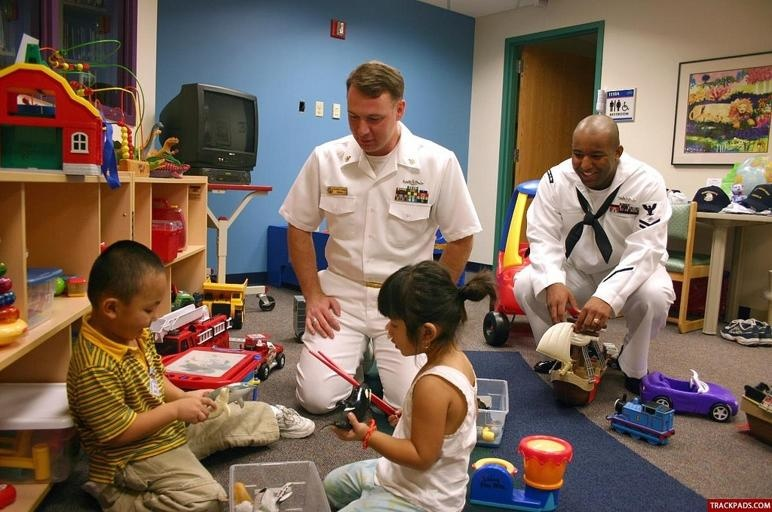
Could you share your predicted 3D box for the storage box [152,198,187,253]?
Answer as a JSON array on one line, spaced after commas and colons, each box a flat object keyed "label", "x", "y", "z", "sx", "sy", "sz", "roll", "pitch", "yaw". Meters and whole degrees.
[{"label": "storage box", "x": -1.368, "y": -0.209, "z": 3.387, "sx": 0.202, "sy": 0.259, "sz": 0.291, "roll": 0, "pitch": 41, "yaw": -21}]

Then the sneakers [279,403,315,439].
[{"label": "sneakers", "x": -0.393, "y": 0.704, "z": 2.343, "sx": 0.205, "sy": 0.099, "sz": 0.079, "roll": 7, "pitch": 9, "yaw": 9}]

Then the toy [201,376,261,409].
[{"label": "toy", "x": -0.620, "y": 0.549, "z": 2.222, "sx": 0.203, "sy": 0.120, "sz": 0.079, "roll": -10, "pitch": -3, "yaw": -15}]

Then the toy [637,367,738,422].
[{"label": "toy", "x": 1.492, "y": 0.671, "z": 2.787, "sx": 0.450, "sy": 0.210, "sz": 0.260, "roll": 2, "pitch": 10, "yaw": 14}]

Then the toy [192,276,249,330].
[{"label": "toy", "x": -1.126, "y": 0.296, "z": 3.779, "sx": 0.278, "sy": 0.273, "sz": 0.440, "roll": 6, "pitch": 11, "yaw": -10}]

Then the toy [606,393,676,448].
[{"label": "toy", "x": 1.189, "y": 0.751, "z": 2.535, "sx": 0.130, "sy": 0.170, "sz": 0.297, "roll": 1, "pitch": 1, "yaw": -31}]

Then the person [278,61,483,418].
[{"label": "person", "x": -0.096, "y": -0.086, "z": 2.568, "sx": 0.927, "sy": 1.558, "sz": 0.817, "roll": 9, "pitch": 17, "yaw": 19}]

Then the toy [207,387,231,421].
[{"label": "toy", "x": -0.669, "y": 0.578, "z": 2.165, "sx": 0.092, "sy": 0.132, "sz": 0.046, "roll": 19, "pitch": -5, "yaw": 42}]

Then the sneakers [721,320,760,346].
[{"label": "sneakers", "x": 2.528, "y": 0.527, "z": 3.860, "sx": 0.113, "sy": 0.137, "sz": 0.295, "roll": 1, "pitch": 7, "yaw": -16}]

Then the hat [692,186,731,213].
[{"label": "hat", "x": 2.437, "y": -0.428, "z": 4.100, "sx": 0.188, "sy": 0.115, "sz": 0.274, "roll": 5, "pitch": 20, "yaw": 30}]

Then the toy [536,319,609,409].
[{"label": "toy", "x": 0.981, "y": 0.517, "z": 2.833, "sx": 0.328, "sy": 0.431, "sz": 0.437, "roll": 5, "pitch": 11, "yaw": 35}]

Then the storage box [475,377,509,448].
[{"label": "storage box", "x": 0.488, "y": 0.705, "z": 2.508, "sx": 0.156, "sy": 0.115, "sz": 0.249, "roll": 0, "pitch": 3, "yaw": 6}]

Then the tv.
[{"label": "tv", "x": -1.461, "y": -1.022, "z": 4.435, "sx": 0.628, "sy": 0.623, "sz": 0.648, "roll": 5, "pitch": 7, "yaw": 24}]

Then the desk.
[{"label": "desk", "x": 2.612, "y": 0.088, "z": 4.194, "sx": 0.456, "sy": 0.916, "sz": 0.764, "roll": 11, "pitch": 15, "yaw": 35}]

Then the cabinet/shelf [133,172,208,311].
[{"label": "cabinet/shelf", "x": -1.188, "y": -0.086, "z": 2.999, "sx": 0.278, "sy": 0.783, "sz": 0.808, "roll": 0, "pitch": 5, "yaw": -1}]

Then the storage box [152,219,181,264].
[{"label": "storage box", "x": -1.236, "y": -0.094, "z": 3.057, "sx": 0.231, "sy": 0.169, "sz": 0.140, "roll": 7, "pitch": 10, "yaw": 40}]

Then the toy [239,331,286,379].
[{"label": "toy", "x": -0.707, "y": 0.526, "z": 3.012, "sx": 0.245, "sy": 0.216, "sz": 0.367, "roll": 9, "pitch": 4, "yaw": 3}]

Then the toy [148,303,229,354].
[{"label": "toy", "x": -1.082, "y": 0.454, "z": 3.029, "sx": 0.195, "sy": 0.280, "sz": 0.555, "roll": -2, "pitch": 1, "yaw": 9}]
